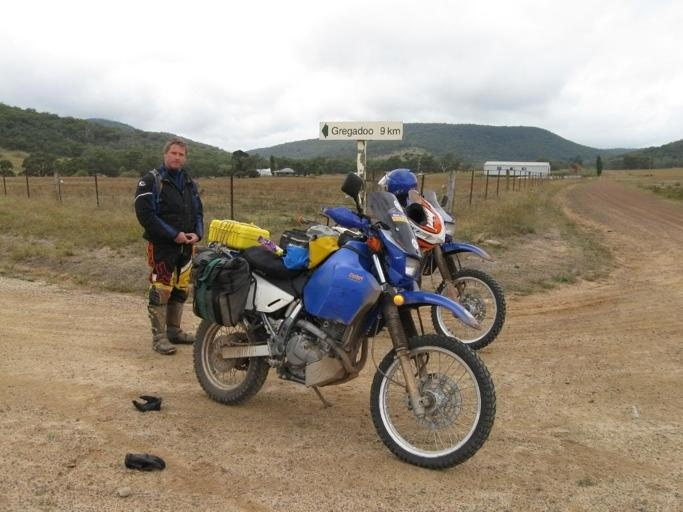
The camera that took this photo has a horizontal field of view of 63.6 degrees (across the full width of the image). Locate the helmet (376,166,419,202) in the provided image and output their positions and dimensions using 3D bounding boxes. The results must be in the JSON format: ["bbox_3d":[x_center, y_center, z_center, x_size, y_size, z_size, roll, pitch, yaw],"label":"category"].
[{"bbox_3d":[0.721,-0.923,7.299,0.562,0.465,0.399,10,15,23],"label":"helmet"}]

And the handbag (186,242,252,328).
[{"bbox_3d":[-1.381,0.340,6.156,0.822,0.753,0.558,17,13,43],"label":"handbag"}]
